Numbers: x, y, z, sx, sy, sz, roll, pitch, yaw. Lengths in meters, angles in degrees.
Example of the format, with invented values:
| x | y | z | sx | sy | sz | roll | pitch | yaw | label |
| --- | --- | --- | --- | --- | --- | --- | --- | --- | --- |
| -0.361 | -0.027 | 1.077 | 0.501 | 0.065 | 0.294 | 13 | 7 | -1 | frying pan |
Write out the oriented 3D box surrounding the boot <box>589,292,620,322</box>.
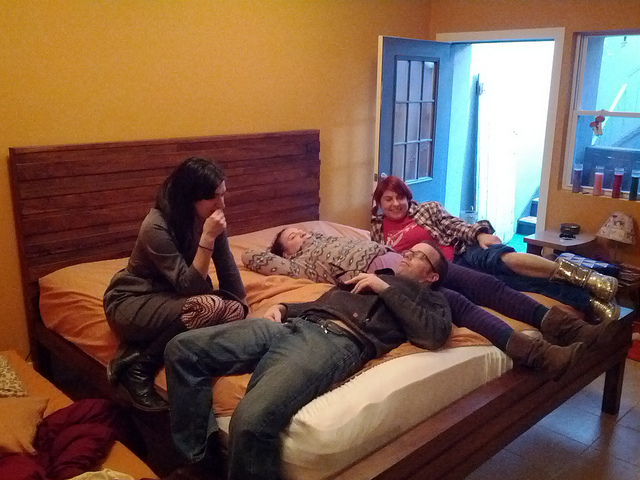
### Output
| x | y | z | sx | sy | sz | roll | pitch | yaw | label |
| --- | --- | --- | --- | --- | --- | --- | --- | --- | --- |
| 1.519 | 0.363 | 2.480 | 0.091 | 0.079 | 0.213 | 38 | 4 | 5 | boot |

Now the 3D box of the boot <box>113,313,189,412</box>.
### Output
| x | y | z | sx | sy | sz | roll | pitch | yaw | label |
| --- | --- | --- | --- | --- | --- | --- | --- | --- | --- |
| -0.791 | 0.547 | 2.127 | 0.310 | 0.377 | 0.258 | 4 | 13 | 6 | boot |

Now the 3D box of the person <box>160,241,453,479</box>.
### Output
| x | y | z | sx | sy | sz | roll | pitch | yaw | label |
| --- | --- | --- | --- | --- | --- | --- | --- | --- | --- |
| -0.028 | 0.486 | 2.180 | 0.705 | 0.509 | 1.295 | 16 | 30 | 29 | person |

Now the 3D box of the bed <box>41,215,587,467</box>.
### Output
| x | y | z | sx | sy | sz | roll | pitch | yaw | label |
| --- | --- | --- | --- | --- | --- | --- | --- | --- | --- |
| -0.165 | 0.494 | 2.309 | 1.482 | 0.304 | 1.507 | 16 | 23 | 42 | bed |

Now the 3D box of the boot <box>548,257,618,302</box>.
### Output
| x | y | z | sx | sy | sz | roll | pitch | yaw | label |
| --- | --- | --- | --- | --- | --- | --- | --- | --- | --- |
| 1.460 | 0.219 | 2.608 | 0.180 | 0.140 | 0.340 | -34 | 35 | -23 | boot |

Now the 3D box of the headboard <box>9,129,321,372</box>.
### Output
| x | y | z | sx | sy | sz | roll | pitch | yaw | label |
| --- | --- | --- | --- | --- | --- | --- | --- | --- | --- |
| -0.994 | 0.059 | 2.683 | 1.657 | 1.115 | 0.080 | -12 | 19 | -41 | headboard |

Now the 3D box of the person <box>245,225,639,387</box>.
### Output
| x | y | z | sx | sy | sz | roll | pitch | yaw | label |
| --- | --- | --- | --- | --- | --- | --- | --- | --- | --- |
| 0.494 | 0.191 | 2.551 | 1.838 | 0.458 | 0.960 | 20 | 26 | 24 | person |
